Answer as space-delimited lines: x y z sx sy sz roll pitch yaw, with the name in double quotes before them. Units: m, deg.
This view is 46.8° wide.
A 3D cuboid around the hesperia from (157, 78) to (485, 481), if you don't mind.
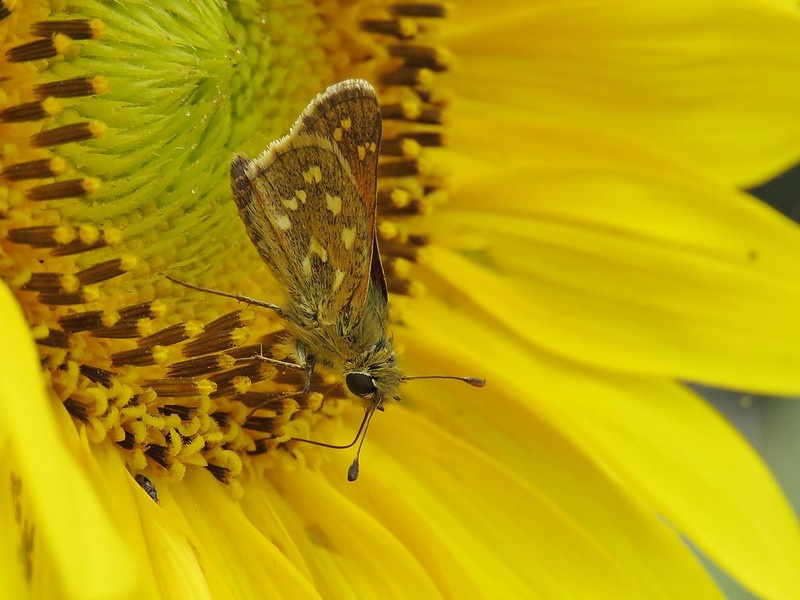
"hesperia" -0.139 -0.082 1.699 0.286 0.647 0.252 11 15 19
